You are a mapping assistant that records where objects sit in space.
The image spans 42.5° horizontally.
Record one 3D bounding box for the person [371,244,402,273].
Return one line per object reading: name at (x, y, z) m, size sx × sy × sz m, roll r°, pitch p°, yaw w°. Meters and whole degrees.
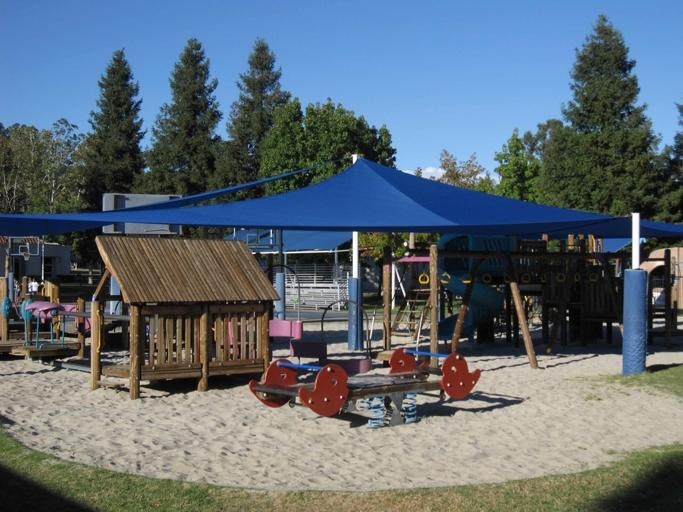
person at (1.950, -0.102, 38.406) m, size 1.121 × 0.527 × 1.098 m, roll -34°, pitch 29°, yaw -25°
